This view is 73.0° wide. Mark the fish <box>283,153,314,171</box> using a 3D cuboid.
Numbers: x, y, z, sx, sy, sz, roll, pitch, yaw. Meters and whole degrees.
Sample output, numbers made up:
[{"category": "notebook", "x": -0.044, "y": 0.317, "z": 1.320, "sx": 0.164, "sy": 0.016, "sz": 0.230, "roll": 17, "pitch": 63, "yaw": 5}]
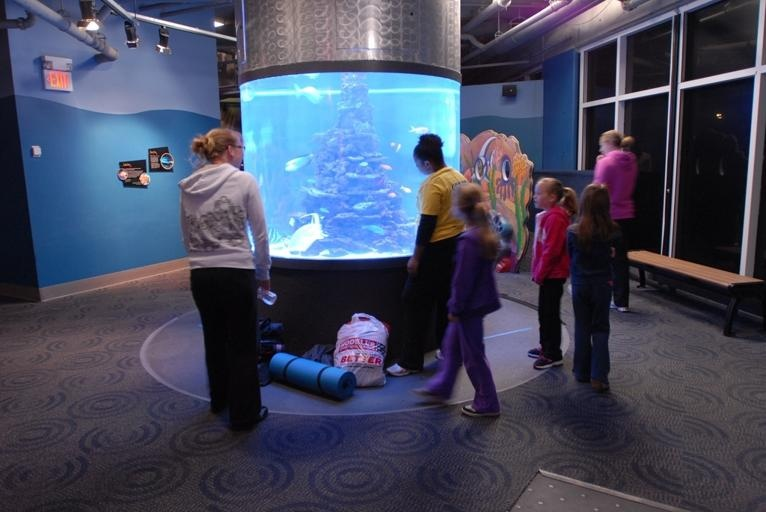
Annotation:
[{"category": "fish", "x": -0.838, "y": -0.927, "z": 5.123, "sx": 0.300, "sy": 0.159, "sz": 0.059, "roll": 3, "pitch": 16, "yaw": 23}]

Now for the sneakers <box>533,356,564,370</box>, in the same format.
[{"category": "sneakers", "x": 1.592, "y": 1.030, "z": 5.017, "sx": 0.293, "sy": 0.124, "sz": 0.106, "roll": 1, "pitch": -1, "yaw": -11}]

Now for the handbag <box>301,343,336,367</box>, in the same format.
[{"category": "handbag", "x": -0.636, "y": 0.956, "z": 5.109, "sx": 0.323, "sy": 0.239, "sz": 0.171, "roll": 2, "pitch": -29, "yaw": -9}]

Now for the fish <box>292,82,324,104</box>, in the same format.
[{"category": "fish", "x": -0.720, "y": -1.593, "z": 5.046, "sx": 0.357, "sy": 0.192, "sz": 0.068, "roll": 20, "pitch": 18, "yaw": 4}]

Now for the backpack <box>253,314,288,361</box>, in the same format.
[{"category": "backpack", "x": -1.150, "y": 0.821, "z": 5.421, "sx": 0.371, "sy": 0.663, "sz": 0.372, "roll": -3, "pitch": 8, "yaw": -12}]

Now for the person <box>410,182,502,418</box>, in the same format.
[{"category": "person", "x": 0.672, "y": 0.378, "z": 4.310, "sx": 0.573, "sy": 1.915, "sz": 0.393, "roll": -1, "pitch": 15, "yaw": 12}]

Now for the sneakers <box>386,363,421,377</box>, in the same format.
[{"category": "sneakers", "x": 0.201, "y": 1.103, "z": 5.086, "sx": 0.339, "sy": 0.150, "sz": 0.121, "roll": 3, "pitch": 1, "yaw": -7}]

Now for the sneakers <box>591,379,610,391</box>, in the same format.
[{"category": "sneakers", "x": 1.964, "y": 1.153, "z": 4.673, "sx": 0.105, "sy": 0.063, "sz": 0.141, "roll": 2, "pitch": -2, "yaw": 21}]

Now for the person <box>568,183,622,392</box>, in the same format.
[{"category": "person", "x": 1.889, "y": 0.267, "z": 4.726, "sx": 0.397, "sy": 1.792, "sz": 0.588, "roll": 2, "pitch": 16, "yaw": 22}]

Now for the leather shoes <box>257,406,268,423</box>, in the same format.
[{"category": "leather shoes", "x": -1.026, "y": 1.337, "z": 4.409, "sx": 0.046, "sy": 0.046, "sz": 0.118, "roll": 9, "pitch": 20, "yaw": 7}]

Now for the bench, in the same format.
[{"category": "bench", "x": 3.786, "y": 0.387, "z": 6.322, "sx": 0.483, "sy": 0.562, "sz": 1.553, "roll": -7, "pitch": 14, "yaw": -11}]

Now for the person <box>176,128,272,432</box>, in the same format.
[{"category": "person", "x": -1.283, "y": 0.170, "z": 4.350, "sx": 0.633, "sy": 2.425, "sz": 0.691, "roll": -16, "pitch": 19, "yaw": -38}]
